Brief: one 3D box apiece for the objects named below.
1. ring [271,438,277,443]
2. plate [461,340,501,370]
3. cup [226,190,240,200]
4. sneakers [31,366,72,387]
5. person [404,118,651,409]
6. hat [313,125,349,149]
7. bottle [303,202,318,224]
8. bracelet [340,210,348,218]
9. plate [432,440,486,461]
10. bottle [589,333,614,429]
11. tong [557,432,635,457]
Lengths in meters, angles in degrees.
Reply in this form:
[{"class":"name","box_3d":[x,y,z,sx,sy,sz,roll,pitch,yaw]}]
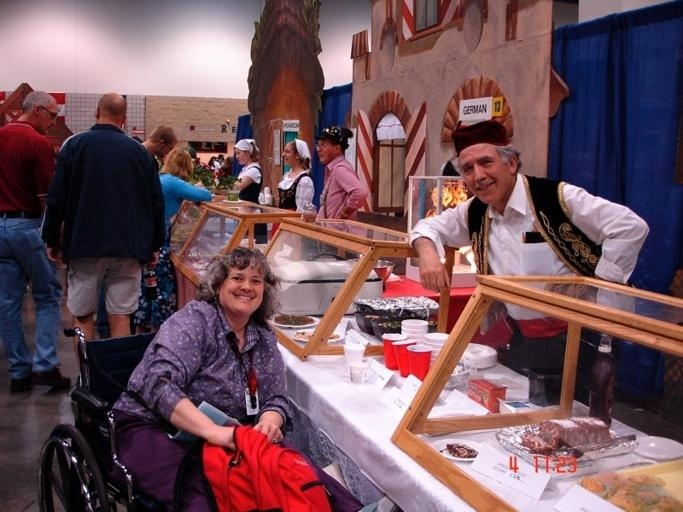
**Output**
[{"class":"ring","box_3d":[-0.263,0.718,1.965,0.018,0.018,0.019,4,-5,0]},{"class":"plate","box_3d":[0.470,0.339,1.714,0.168,0.111,0.035,-3,10,-33]},{"class":"cup","box_3d":[-1.130,-0.612,5.184,0.133,0.087,0.129,0,3,0]},{"class":"sneakers","box_3d":[-2.494,1.047,4.362,0.329,0.239,0.140,1,6,-29]},{"class":"person","box_3d":[0.598,-0.129,2.078,0.980,0.894,0.946,12,13,44]},{"class":"hat","box_3d":[-0.070,-1.158,4.937,0.348,0.227,0.306,-2,10,-27]},{"class":"bottle","box_3d":[-0.206,-0.271,3.259,0.125,0.136,0.179,0,0,-3]},{"class":"bracelet","box_3d":[0.028,-0.387,4.701,0.048,0.059,0.065,-3,11,0]},{"class":"plate","box_3d":[0.343,0.574,1.501,0.137,0.036,0.096,6,10,15]},{"class":"bottle","box_3d":[0.721,0.333,1.377,0.062,0.263,0.124,7,10,26]},{"class":"tong","box_3d":[0.686,0.508,1.337,0.136,0.026,0.081,-15,-4,-4]}]
